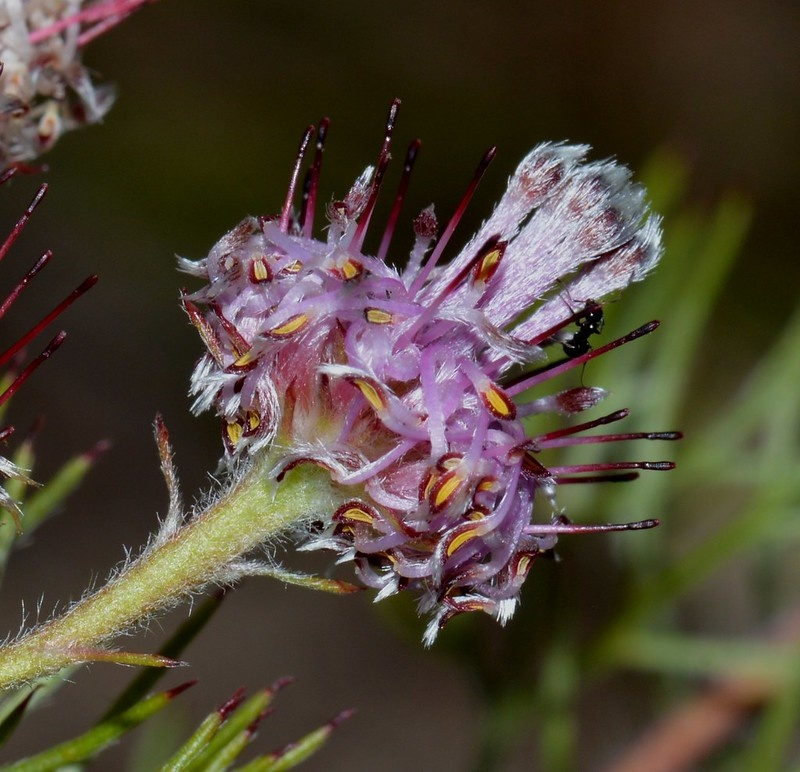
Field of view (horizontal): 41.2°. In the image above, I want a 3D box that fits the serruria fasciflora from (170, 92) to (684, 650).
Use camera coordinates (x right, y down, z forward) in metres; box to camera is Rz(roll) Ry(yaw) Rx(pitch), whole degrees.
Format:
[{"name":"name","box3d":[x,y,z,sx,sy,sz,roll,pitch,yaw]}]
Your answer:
[{"name":"serruria fasciflora","box3d":[0.098,-0.058,1.224,0.559,0.476,0.428,18,-69,4]}]
